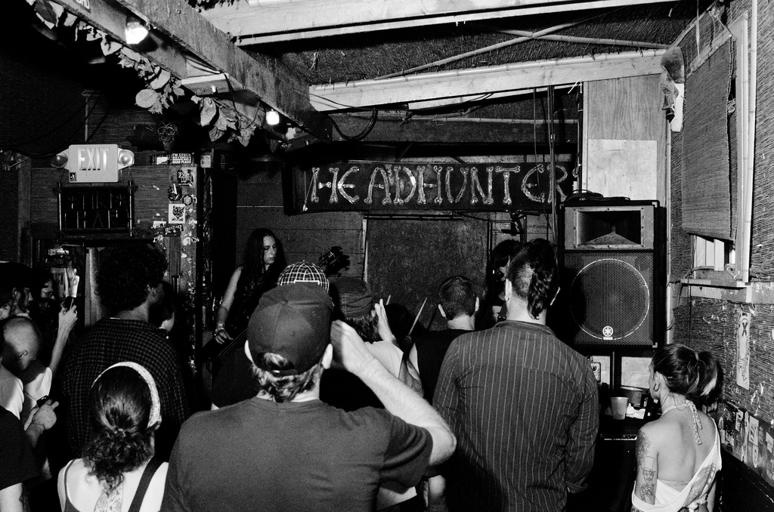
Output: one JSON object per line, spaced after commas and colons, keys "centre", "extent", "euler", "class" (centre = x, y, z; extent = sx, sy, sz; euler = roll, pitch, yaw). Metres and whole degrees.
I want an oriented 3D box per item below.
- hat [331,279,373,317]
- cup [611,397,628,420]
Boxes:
{"centre": [-0.232, 0.252, 5.487], "extent": [0.222, 0.125, 0.237], "euler": [1, 19, -14], "class": "hat"}
{"centre": [1.789, 1.158, 6.575], "extent": [0.120, 0.167, 0.155], "euler": [0, -11, -4], "class": "cup"}
